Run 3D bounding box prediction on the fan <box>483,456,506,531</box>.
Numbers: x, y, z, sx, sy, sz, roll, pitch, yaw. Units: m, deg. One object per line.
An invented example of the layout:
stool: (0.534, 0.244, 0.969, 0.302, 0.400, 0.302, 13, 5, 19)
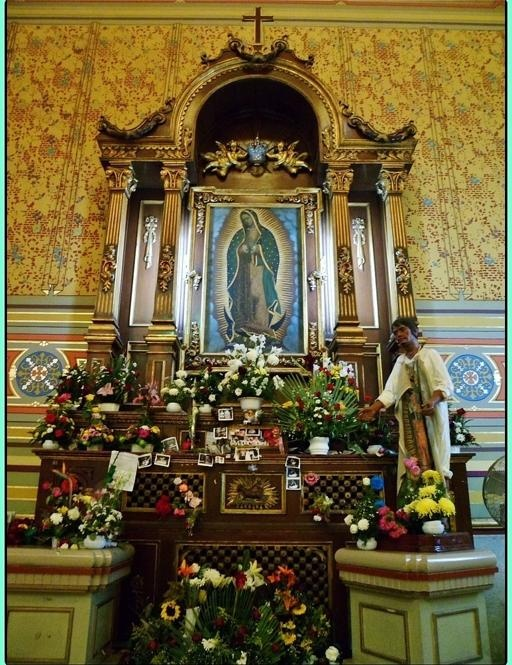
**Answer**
fan: (1.838, 1.242, 4.098, 0.157, 0.519, 0.348, -3, -9, 22)
